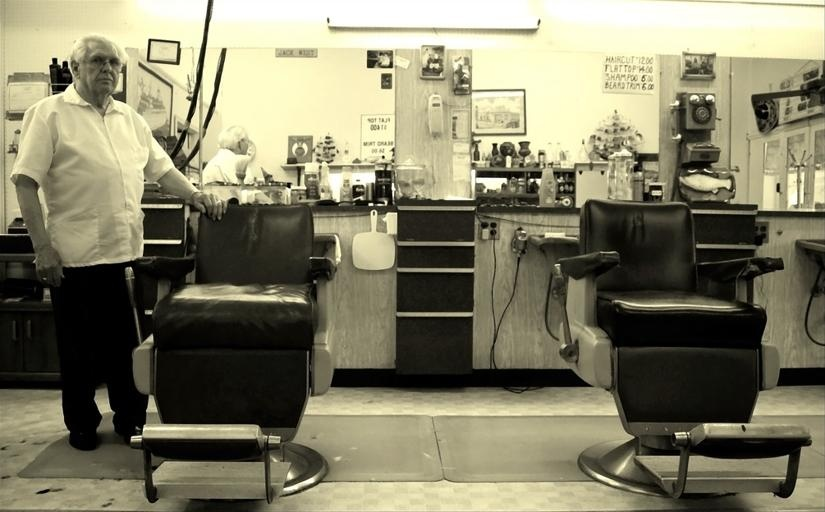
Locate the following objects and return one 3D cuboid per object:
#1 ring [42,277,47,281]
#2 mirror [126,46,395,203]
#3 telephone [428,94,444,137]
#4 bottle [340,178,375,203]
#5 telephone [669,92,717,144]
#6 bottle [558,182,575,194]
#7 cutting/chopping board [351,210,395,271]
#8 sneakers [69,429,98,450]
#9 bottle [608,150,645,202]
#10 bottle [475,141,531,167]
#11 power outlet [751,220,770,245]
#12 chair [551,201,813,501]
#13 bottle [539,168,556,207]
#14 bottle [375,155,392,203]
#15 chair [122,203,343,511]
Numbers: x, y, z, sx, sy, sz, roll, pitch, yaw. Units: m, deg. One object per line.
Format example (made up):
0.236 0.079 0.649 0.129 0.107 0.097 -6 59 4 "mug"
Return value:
-2.528 0.148 5.499 0.028 0.024 0.027 0 3 0 "ring"
-1.383 -0.909 8.411 3.093 2.040 1.536 -1 2 -6 "mirror"
0.196 -1.207 6.936 0.155 0.310 0.075 0 7 -4 "telephone"
-0.472 -0.585 7.004 0.321 0.201 0.235 0 6 10 "bottle"
2.460 -1.227 7.050 0.477 0.518 0.275 0 2 -1 "telephone"
1.502 -0.682 7.968 0.192 0.116 0.196 0 3 0 "bottle"
-0.323 -0.130 6.627 0.358 0.509 0.091 -2 6 -9 "cutting/chopping board"
-2.296 1.276 5.622 0.147 0.100 0.142 5 -7 -42 "sneakers"
1.803 -0.691 6.804 0.255 0.407 0.412 3 7 32 "bottle"
1.022 -1.148 8.982 0.687 0.308 0.263 -1 6 -6 "bottle"
2.910 -0.197 6.645 0.204 0.212 0.051 -4 7 -27 "power outlet"
1.778 0.553 5.488 1.324 1.976 2.032 1 0 -10 "chair"
1.152 -0.588 6.790 0.144 0.315 0.303 0 6 9 "bottle"
-0.251 -0.634 6.936 0.156 0.343 0.391 -1 6 -2 "bottle"
-1.162 0.599 5.412 1.319 1.841 1.894 0 3 0 "chair"
